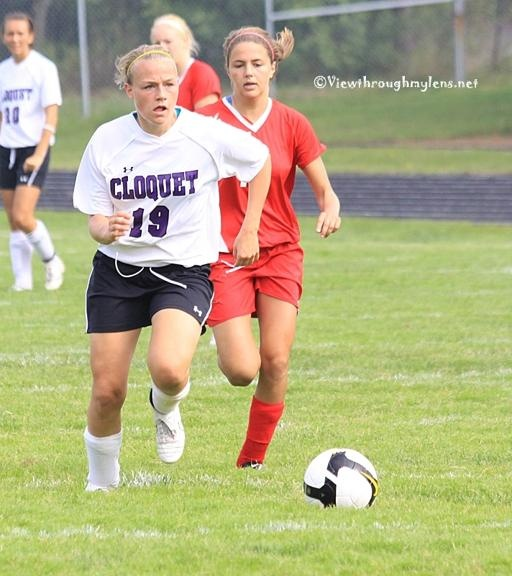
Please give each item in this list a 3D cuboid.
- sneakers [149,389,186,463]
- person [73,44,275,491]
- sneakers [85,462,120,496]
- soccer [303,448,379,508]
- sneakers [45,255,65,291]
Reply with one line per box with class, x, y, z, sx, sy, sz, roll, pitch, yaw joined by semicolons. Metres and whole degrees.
sneakers;-0.355;0.587;4.881;0.119;0.342;0.138;-7;14;1
person;-0.335;0.049;4.629;0.744;1.492;0.450;-2;12;-1
sneakers;-0.613;0.742;4.665;0.118;0.166;0.134;-1;3;-18
soccer;0.334;0.733;4.542;0.228;0.210;0.222;8;-29;-8
sneakers;-1.522;-0.110;8.855;0.116;0.291;0.177;0;9;5
